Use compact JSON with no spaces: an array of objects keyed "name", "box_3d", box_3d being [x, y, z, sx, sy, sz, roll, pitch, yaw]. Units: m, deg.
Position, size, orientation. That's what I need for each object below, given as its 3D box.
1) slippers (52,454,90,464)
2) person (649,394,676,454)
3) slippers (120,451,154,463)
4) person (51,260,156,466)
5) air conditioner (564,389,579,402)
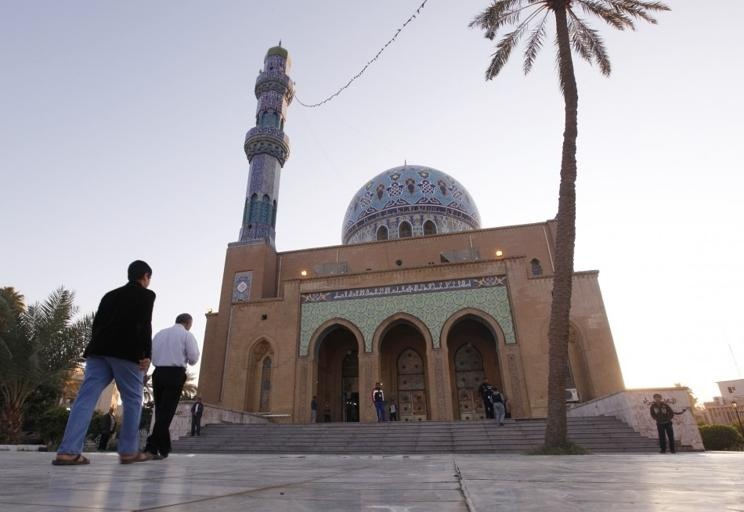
[{"name":"slippers","box_3d":[-2.881,1.949,4.417,0.362,0.127,0.131,10,-24,-25]},{"name":"person","box_3d":[6.066,3.424,9.433,0.396,1.135,1.267,-15,-25,28]},{"name":"slippers","box_3d":[-2.468,2.105,4.761,0.248,0.092,0.088,8,-17,-31]},{"name":"person","box_3d":[-2.671,1.026,4.737,0.715,2.088,0.672,11,-25,-29]},{"name":"air conditioner","box_3d":[6.918,4.781,15.681,0.375,0.516,0.618,-10,-23,20]}]
